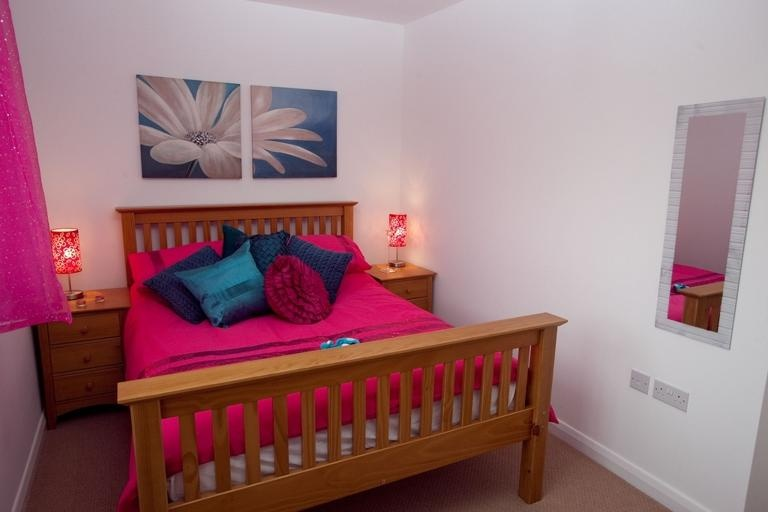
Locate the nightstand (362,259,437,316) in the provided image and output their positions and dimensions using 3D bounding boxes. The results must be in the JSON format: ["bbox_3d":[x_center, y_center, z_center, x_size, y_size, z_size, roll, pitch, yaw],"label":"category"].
[{"bbox_3d":[0.159,0.204,4.683,0.458,0.631,0.454,-7,15,-30],"label":"nightstand"}]

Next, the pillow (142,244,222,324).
[{"bbox_3d":[-1.350,0.212,3.516,0.456,0.147,0.490,34,43,12],"label":"pillow"}]

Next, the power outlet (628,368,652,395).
[{"bbox_3d":[1.540,0.746,3.118,0.032,0.158,0.157,-5,10,-35],"label":"power outlet"}]

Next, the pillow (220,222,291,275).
[{"bbox_3d":[-0.975,-0.095,3.928,0.385,0.157,0.385,12,29,31],"label":"pillow"}]

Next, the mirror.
[{"bbox_3d":[1.754,-0.174,2.833,0.206,1.295,0.396,-16,17,-42],"label":"mirror"}]
